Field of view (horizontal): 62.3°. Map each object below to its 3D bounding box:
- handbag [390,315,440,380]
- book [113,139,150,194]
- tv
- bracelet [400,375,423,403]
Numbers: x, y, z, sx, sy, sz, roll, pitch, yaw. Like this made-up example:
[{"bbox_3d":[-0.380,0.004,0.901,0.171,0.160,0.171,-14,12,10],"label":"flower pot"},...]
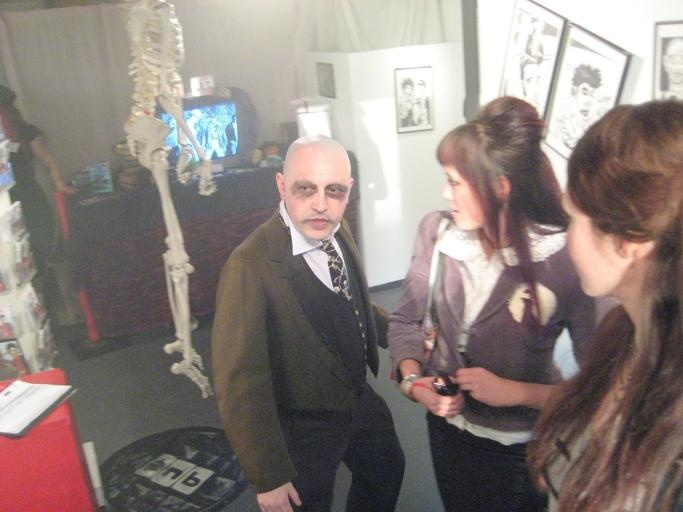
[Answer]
[{"bbox_3d":[0.273,0.334,2.110,0.222,0.245,0.104,9,12,-37],"label":"handbag"},{"bbox_3d":[-1.316,-0.561,3.514,0.177,0.300,0.141,0,18,12],"label":"book"},{"bbox_3d":[-0.972,-0.770,3.588,0.320,0.468,0.587,23,28,30],"label":"tv"},{"bbox_3d":[0.251,0.466,1.994,0.073,0.060,0.087,-2,11,1],"label":"bracelet"}]
